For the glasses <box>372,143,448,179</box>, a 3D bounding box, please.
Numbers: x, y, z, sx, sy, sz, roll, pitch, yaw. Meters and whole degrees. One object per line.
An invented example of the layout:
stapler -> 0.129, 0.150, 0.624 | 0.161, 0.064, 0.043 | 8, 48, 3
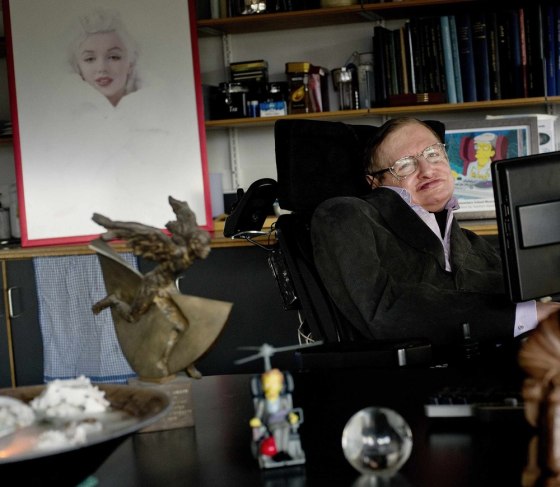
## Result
glasses -> 0.362, -0.198, 1.493 | 0.119, 0.033, 0.120 | -22, -1, -36

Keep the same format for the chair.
chair -> 0.273, -0.036, 1.813 | 0.637, 0.748, 0.716 | 2, -1, -30
